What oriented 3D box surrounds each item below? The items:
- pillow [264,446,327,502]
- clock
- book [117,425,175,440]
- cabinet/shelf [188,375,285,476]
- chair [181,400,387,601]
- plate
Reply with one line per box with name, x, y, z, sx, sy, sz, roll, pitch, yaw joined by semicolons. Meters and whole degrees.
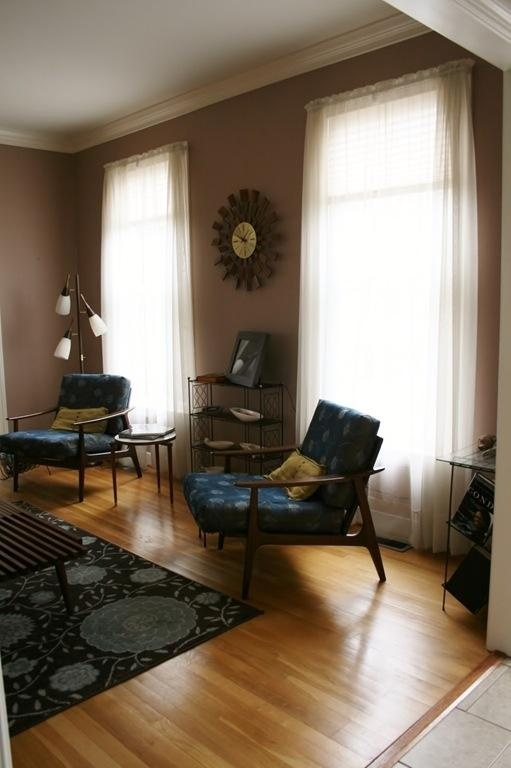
pillow;0.223;0.467;2.955;0.157;0.141;0.352;21;8;-17
clock;-0.078;-1.008;3.989;0.053;0.697;0.657;18;23;41
book;-0.789;0.353;4.157;0.391;0.057;0.405;0;3;13
cabinet/shelf;-0.103;0.289;3.941;0.196;0.785;0.663;-4;4;-42
chair;0.114;0.550;2.990;0.966;0.868;0.874;-1;3;-20
plate;-0.136;0.379;3.917;0.158;0.399;0.423;-7;11;-33
